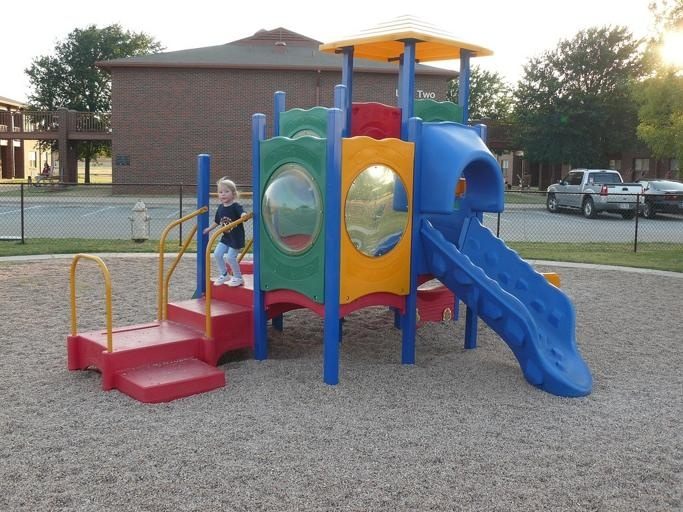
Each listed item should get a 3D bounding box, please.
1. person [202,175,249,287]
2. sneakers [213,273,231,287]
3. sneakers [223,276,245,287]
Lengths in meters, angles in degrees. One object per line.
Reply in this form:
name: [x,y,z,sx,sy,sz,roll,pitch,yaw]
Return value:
person: [-1.474,-0.291,8.222,0.495,1.383,0.858,-1,12,-11]
sneakers: [-1.563,0.332,8.408,0.285,0.126,0.116,-29,27,40]
sneakers: [-1.361,0.324,8.191,0.196,0.088,0.122,4,3,-2]
